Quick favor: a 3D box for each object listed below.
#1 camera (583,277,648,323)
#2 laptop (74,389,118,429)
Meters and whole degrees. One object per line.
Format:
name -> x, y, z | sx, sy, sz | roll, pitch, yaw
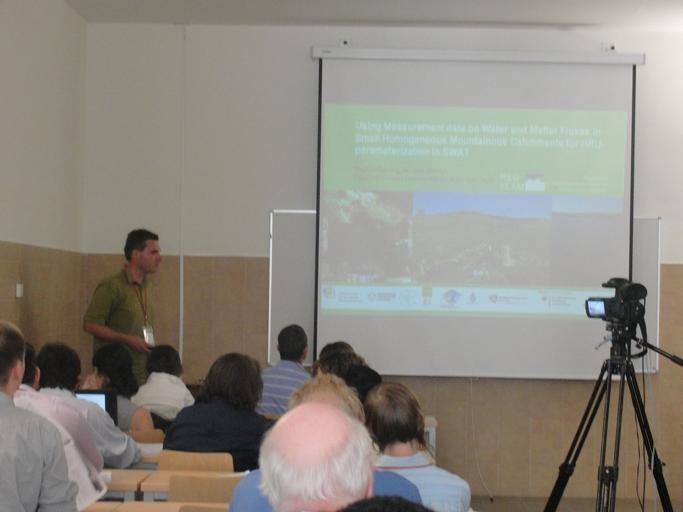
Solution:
camera -> 2.267, 0.428, 7.121 | 0.586, 0.311, 0.608 | -4, -17, 37
laptop -> -1.808, 1.128, 6.580 | 0.219, 0.278, 0.026 | 0, 0, 4
